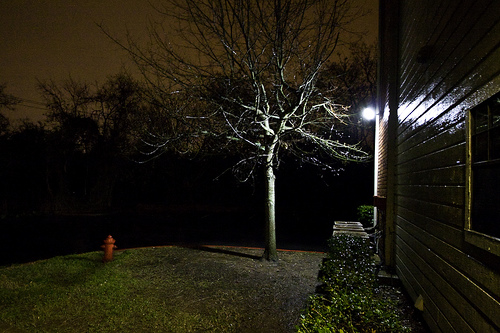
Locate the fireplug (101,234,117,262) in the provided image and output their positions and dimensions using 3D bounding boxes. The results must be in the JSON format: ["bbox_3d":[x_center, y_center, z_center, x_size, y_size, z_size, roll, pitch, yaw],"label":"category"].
[{"bbox_3d":[-4.190,2.310,10.492,0.363,0.700,1.194,0,-1,-21],"label":"fireplug"}]

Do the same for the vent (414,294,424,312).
[{"bbox_3d":[3.022,2.395,6.376,0.080,0.265,0.231,1,0,4],"label":"vent"}]
